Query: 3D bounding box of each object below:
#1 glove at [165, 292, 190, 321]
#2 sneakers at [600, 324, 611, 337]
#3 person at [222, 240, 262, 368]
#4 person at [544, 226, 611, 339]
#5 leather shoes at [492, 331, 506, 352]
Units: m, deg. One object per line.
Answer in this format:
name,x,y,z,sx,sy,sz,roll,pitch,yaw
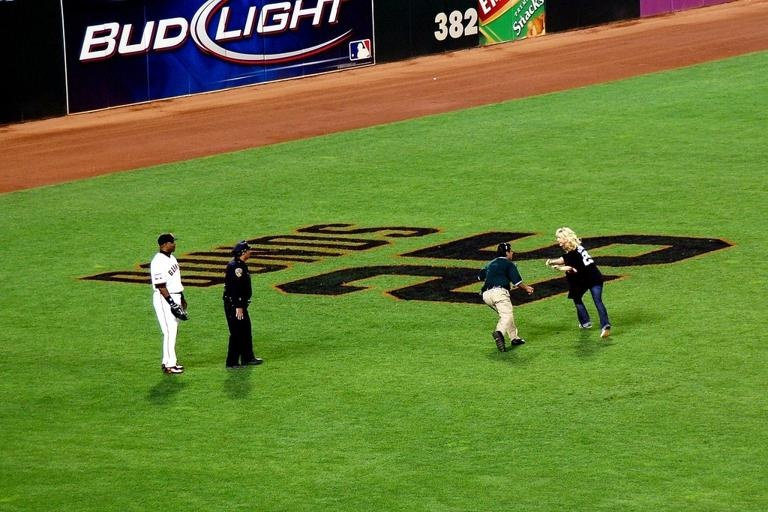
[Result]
glove,-4.113,0.996,36.130,0.250,0.529,0.432,-23,-4,2
sneakers,4.725,1.581,37.635,0.162,0.124,0.328,-1,-23,1
person,-2.928,0.992,36.618,0.781,2.661,0.792,-7,10,-5
person,4.225,0.504,37.901,1.098,2.399,1.362,-5,10,6
leather shoes,2.480,1.750,37.109,0.259,0.445,0.194,-22,2,-32
